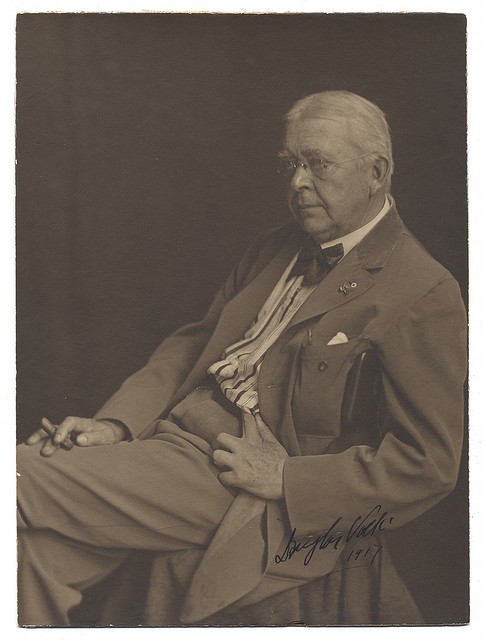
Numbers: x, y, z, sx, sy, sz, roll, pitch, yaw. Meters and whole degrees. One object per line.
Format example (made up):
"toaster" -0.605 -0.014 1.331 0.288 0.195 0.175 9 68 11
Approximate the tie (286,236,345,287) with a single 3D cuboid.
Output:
"tie" 0.481 -0.379 6.128 0.307 0.343 0.119 15 -29 21

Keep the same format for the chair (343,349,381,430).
"chair" 0.764 0.434 5.924 0.191 0.446 0.296 5 -31 -5
